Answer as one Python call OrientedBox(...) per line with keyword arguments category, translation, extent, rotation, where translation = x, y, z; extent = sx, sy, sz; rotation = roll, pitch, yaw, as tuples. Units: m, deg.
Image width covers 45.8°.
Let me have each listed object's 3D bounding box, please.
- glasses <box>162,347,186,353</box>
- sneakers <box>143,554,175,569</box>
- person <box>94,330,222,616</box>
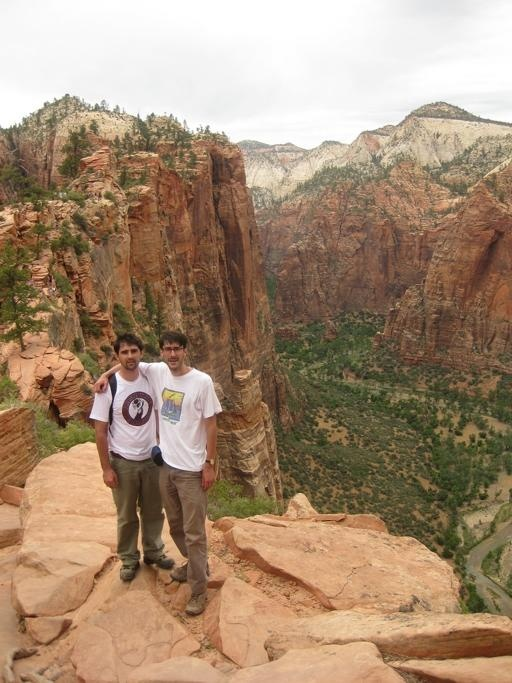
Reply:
OrientedBox(category="glasses", translation=(-0.729, 0.076, 5.284), extent=(0.193, 0.048, 0.121), rotation=(-4, 0, 0))
OrientedBox(category="sneakers", translation=(-0.902, 2.083, 5.798), extent=(0.311, 0.143, 0.115), rotation=(0, 13, 2))
OrientedBox(category="person", translation=(-0.620, 1.122, 5.345), extent=(0.674, 2.392, 0.404), rotation=(-3, 1, 43))
